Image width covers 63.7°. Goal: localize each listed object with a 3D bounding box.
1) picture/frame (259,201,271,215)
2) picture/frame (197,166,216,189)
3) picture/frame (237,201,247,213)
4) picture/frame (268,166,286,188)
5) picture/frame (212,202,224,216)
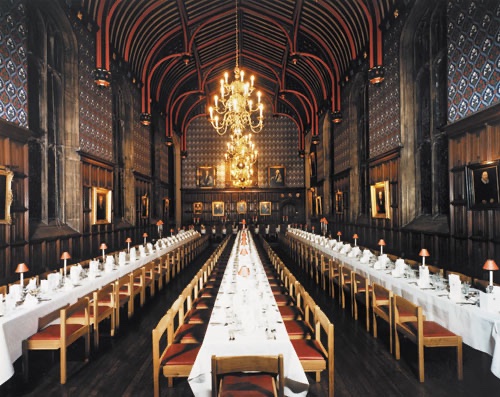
[{"bbox_3d":[0.940,0.628,25.129,0.671,0.956,0.119,0,-5,-1],"label":"picture/frame"},{"bbox_3d":[-2.726,-1.280,25.007,1.093,1.489,0.141,1,0,3],"label":"picture/frame"},{"bbox_3d":[-0.504,0.566,25.117,0.541,0.983,0.645,0,0,0],"label":"picture/frame"},{"bbox_3d":[1.677,-1.310,25.163,1.036,1.523,0.177,0,-4,-1],"label":"picture/frame"},{"bbox_3d":[-1.956,0.631,25.006,0.668,0.945,0.086,1,1,-1],"label":"picture/frame"}]
